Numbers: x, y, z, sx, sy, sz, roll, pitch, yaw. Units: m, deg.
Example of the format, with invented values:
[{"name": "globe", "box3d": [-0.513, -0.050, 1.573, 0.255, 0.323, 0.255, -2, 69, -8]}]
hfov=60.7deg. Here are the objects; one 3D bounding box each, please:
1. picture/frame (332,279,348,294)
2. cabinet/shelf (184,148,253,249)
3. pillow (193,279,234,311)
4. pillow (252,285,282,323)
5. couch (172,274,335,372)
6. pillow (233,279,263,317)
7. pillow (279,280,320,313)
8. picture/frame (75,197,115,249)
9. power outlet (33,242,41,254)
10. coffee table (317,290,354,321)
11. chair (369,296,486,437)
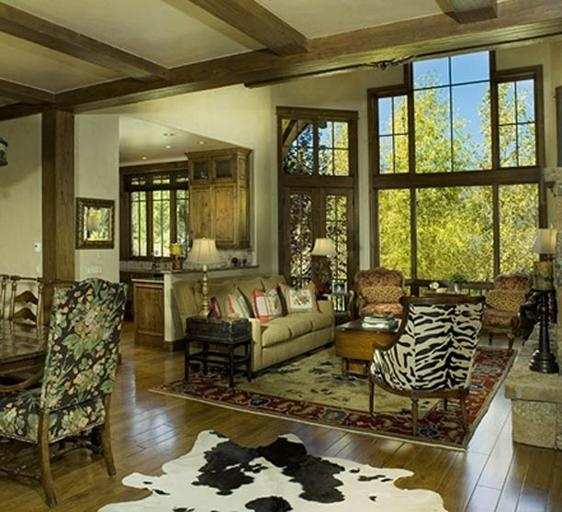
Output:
[{"name": "picture/frame", "box3d": [0.920, 0.497, 7.543, 0.338, 0.263, 0.170, 1, -2, 8]}, {"name": "cabinet/shelf", "box3d": [-1.048, -0.973, 8.176, 1.085, 1.701, 0.362, 0, 1, 29]}, {"name": "pillow", "box3d": [-0.841, 0.506, 6.133, 0.452, 0.480, 0.425, -2, -9, -1]}, {"name": "pillow", "box3d": [-0.184, 0.645, 6.240, 0.249, 0.422, 0.665, -1, 0, 27]}, {"name": "couch", "box3d": [-0.213, 0.829, 6.243, 1.126, 0.935, 2.054, 3, 2, 29]}, {"name": "pillow", "box3d": [-0.492, 0.533, 6.385, 0.138, 0.373, 0.429, -13, 13, 3]}, {"name": "pillow", "box3d": [0.260, 0.573, 6.620, 0.477, 0.421, 0.127, -15, -19, -31]}, {"name": "picture/frame", "box3d": [-2.267, -0.388, 5.889, 0.774, 0.646, 0.057, 3, 3, 34]}, {"name": "power outlet", "box3d": [-2.895, -0.100, 5.697, 0.148, 0.144, 0.022, -3, -5, 25]}, {"name": "coffee table", "box3d": [0.888, 0.804, 7.848, 0.597, 0.590, 0.463, 1, -2, -3]}, {"name": "chair", "box3d": [1.110, 0.823, 3.770, 0.927, 0.907, 0.910, -2, -9, 27]}]
